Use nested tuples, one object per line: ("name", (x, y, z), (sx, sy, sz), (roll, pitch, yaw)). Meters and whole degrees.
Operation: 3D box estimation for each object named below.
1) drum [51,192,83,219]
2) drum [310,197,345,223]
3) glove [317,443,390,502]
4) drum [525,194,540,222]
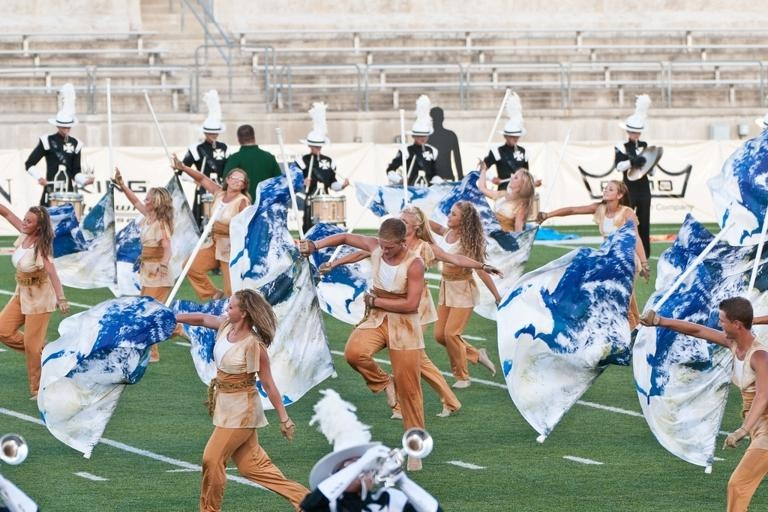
("drum", (-5.666, -1.008, 34.144), (0.636, 0.540, 0.642), (0, -2, -19))
("drum", (-1.033, -0.862, 34.688), (0.524, 0.415, 0.529), (0, 0, 0))
("glove", (-0.411, 2.899, 25.498), (0.971, 0.776, 0.147), (-1, 8, -1))
("drum", (2.578, -0.811, 32.606), (0.373, 0.428, 0.476), (-2, 31, -1))
